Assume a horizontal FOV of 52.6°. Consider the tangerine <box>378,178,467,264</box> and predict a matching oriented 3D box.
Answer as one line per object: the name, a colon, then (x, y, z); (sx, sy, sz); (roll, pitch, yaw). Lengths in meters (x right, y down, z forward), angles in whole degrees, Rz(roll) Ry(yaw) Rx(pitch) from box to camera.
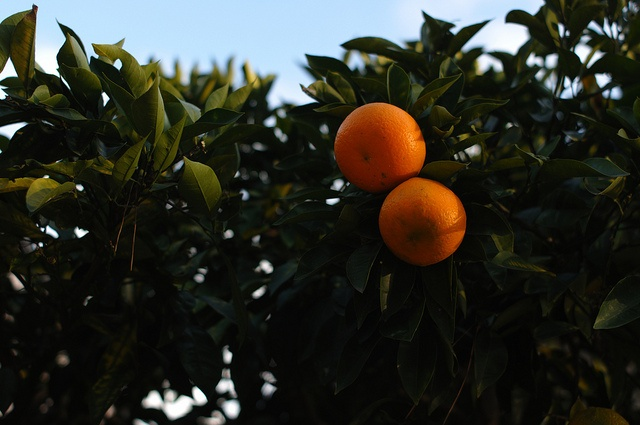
tangerine: (0.269, 0.020, 1.710); (0.215, 0.153, 0.175); (-18, -52, 17)
